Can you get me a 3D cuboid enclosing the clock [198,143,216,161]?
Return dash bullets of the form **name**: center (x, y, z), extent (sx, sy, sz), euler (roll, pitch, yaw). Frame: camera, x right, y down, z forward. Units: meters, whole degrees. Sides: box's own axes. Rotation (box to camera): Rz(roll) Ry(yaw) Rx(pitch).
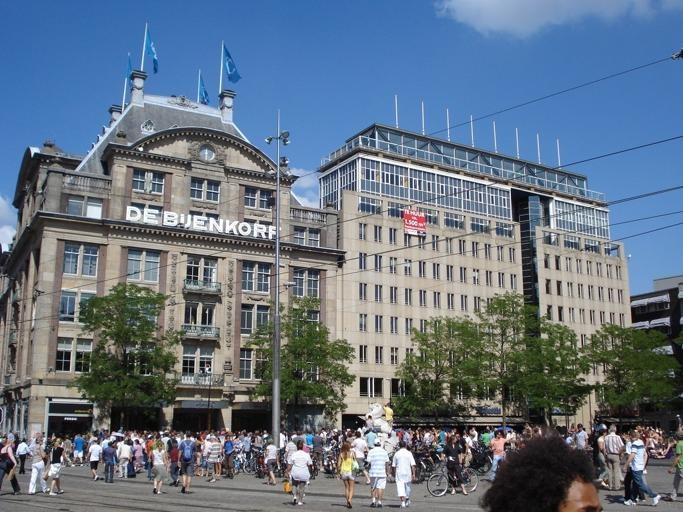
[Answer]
- **clock**: center (-11.933, -9.161, 86.968), extent (1.397, 1.134, 0.199), euler (-31, 8, -36)
